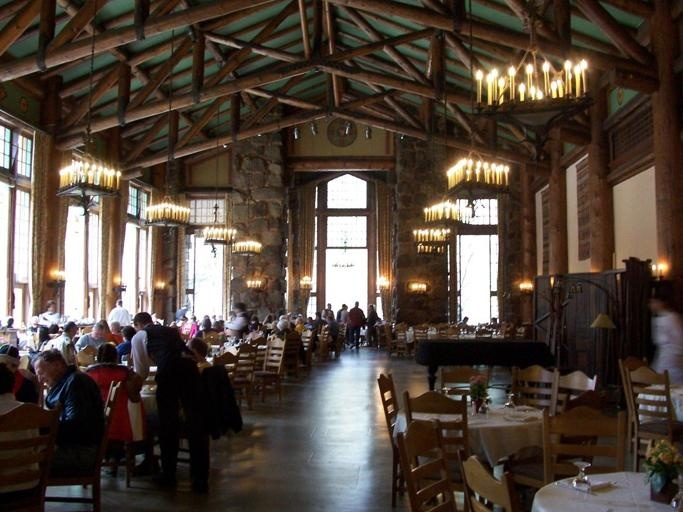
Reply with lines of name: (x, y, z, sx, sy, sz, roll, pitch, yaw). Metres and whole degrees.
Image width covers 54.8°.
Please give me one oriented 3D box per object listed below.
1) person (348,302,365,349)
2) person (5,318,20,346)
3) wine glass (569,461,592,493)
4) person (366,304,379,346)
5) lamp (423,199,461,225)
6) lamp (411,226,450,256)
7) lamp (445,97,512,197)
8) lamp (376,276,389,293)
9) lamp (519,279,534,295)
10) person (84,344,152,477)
person: (0.549, 2.472, 23.825, 0.618, 1.634, 1.086, -3, -2, 2)
person: (-6.875, 1.535, 13.751, 0.250, 0.558, 1.463, -2, -3, -28)
wine glass: (1.954, 1.760, 5.393, 0.151, 0.189, 0.388, -4, -3, 19)
person: (1.176, 2.562, 24.463, 0.441, 1.530, 1.242, -3, -2, -3)
lamp: (2.018, -0.872, 13.114, 0.706, 0.518, 1.121, -4, -3, 10)
lamp: (2.117, -0.404, 15.186, 1.091, 0.751, 0.956, -1, -5, 6)
lamp: (2.116, -1.530, 10.861, 1.134, 1.557, 1.168, -7, -9, 39)
lamp: (1.787, 1.188, 28.354, 0.546, 0.652, 0.578, 2, -6, -8)
lamp: (5.586, 0.916, 19.881, 0.249, 0.494, 0.460, 15, -22, -29)
person: (-2.601, 1.717, 7.760, 0.577, 1.496, 0.573, -2, 14, -1)
